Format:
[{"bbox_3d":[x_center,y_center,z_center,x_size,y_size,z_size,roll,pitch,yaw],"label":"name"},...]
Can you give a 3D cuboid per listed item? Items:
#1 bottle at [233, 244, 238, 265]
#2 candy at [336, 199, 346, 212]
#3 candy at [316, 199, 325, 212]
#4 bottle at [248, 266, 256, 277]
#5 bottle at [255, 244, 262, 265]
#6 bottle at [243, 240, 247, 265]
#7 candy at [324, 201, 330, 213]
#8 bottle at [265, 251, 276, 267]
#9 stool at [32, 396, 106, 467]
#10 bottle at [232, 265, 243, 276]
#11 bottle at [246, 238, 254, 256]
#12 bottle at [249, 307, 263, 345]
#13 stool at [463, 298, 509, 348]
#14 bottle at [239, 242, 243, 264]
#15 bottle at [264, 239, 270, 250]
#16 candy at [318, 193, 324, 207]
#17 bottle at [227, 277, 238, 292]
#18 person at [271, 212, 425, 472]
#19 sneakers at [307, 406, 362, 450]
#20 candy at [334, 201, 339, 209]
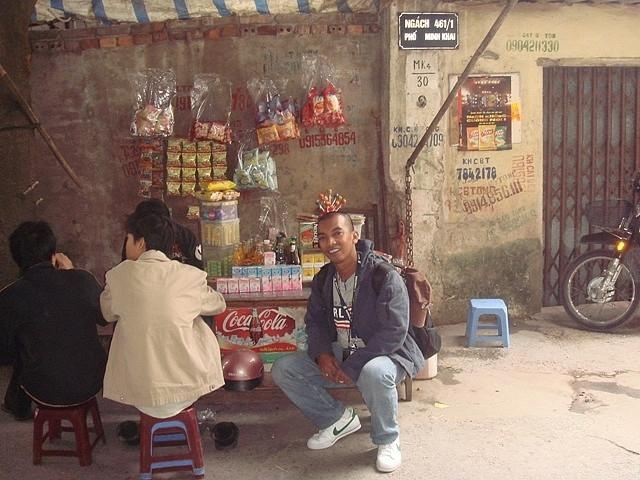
[{"bbox_3d":[-0.832,0.155,6.865,0.069,0.194,0.144,-3,10,-7],"label":"bottle"},{"bbox_3d":[0.244,-0.375,7.530,0.104,0.154,0.044,14,-4,-8],"label":"candy"},{"bbox_3d":[0.006,-0.340,6.994,0.041,0.089,0.214,-12,-17,3],"label":"candy"},{"bbox_3d":[-0.651,0.319,6.681,0.088,0.093,0.061,-3,10,-6],"label":"bottle"},{"bbox_3d":[-0.607,0.144,6.846,0.074,0.189,0.105,-10,13,-41],"label":"bottle"},{"bbox_3d":[-0.733,0.139,6.852,0.065,0.209,0.071,-3,10,-6],"label":"bottle"},{"bbox_3d":[0.079,-0.322,6.759,0.075,0.038,0.108,-12,29,5],"label":"candy"},{"bbox_3d":[-0.492,0.192,6.817,0.107,0.127,0.119,-1,1,2],"label":"bottle"},{"bbox_3d":[-2.122,1.590,5.895,0.516,0.539,0.545,2,10,2],"label":"stool"},{"bbox_3d":[-0.798,0.308,6.734,0.076,0.076,0.081,0,-2,-10],"label":"bottle"},{"bbox_3d":[-0.676,0.073,6.890,0.080,0.163,0.104,-1,10,3],"label":"bottle"},{"bbox_3d":[-0.609,0.833,6.582,0.133,0.350,0.037,-3,10,-8],"label":"bottle"},{"bbox_3d":[1.858,0.927,7.758,0.471,0.513,0.500,-1,1,6],"label":"stool"},{"bbox_3d":[-0.776,0.146,6.856,0.045,0.196,0.080,-2,10,0],"label":"bottle"},{"bbox_3d":[-0.520,0.060,6.861,0.062,0.094,0.080,-2,10,-1],"label":"bottle"},{"bbox_3d":[0.011,-0.398,6.837,0.042,0.109,0.104,10,-10,-1],"label":"candy"},{"bbox_3d":[-0.840,0.445,6.639,0.112,0.166,0.023,1,14,-3],"label":"bottle"},{"bbox_3d":[0.269,0.788,5.779,1.061,2.019,0.655,4,11,28],"label":"person"},{"bbox_3d":[0.130,1.633,5.983,0.548,0.251,0.205,-25,15,-26],"label":"sneakers"},{"bbox_3d":[0.172,-0.340,6.825,0.051,0.078,0.046,-2,10,-4],"label":"candy"}]
